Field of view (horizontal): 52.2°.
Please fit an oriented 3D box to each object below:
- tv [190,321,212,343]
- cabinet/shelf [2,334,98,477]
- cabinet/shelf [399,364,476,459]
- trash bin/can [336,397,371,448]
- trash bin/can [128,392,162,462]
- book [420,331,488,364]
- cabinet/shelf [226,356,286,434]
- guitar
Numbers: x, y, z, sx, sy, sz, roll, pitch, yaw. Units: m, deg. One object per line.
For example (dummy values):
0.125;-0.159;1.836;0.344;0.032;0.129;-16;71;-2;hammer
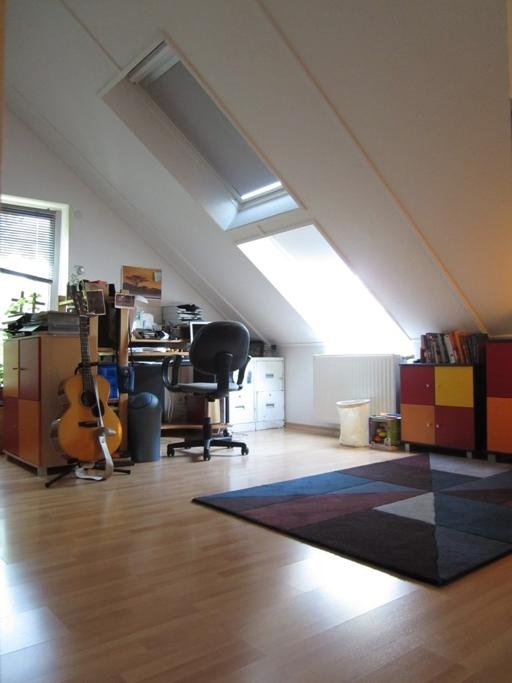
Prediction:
-0.444;-0.069;4.119;0.178;0.177;0.014;-15;-10;-33;tv
-1.230;0.388;3.167;0.296;0.831;0.774;2;7;-40;cabinet/shelf
1.410;0.535;4.004;0.264;0.669;0.683;3;-5;-34;cabinet/shelf
0.781;0.692;4.524;0.357;0.376;0.314;-5;8;-35;trash bin/can
-0.802;0.609;3.702;0.236;0.428;0.183;2;-1;-6;trash bin/can
1.501;0.059;4.040;0.498;0.259;0.238;2;-1;34;book
-0.022;0.543;5.143;0.822;0.783;0.285;1;-3;-45;cabinet/shelf
-0.988;0.166;3.130;0.361;0.985;0.400;3;-1;-11;guitar
